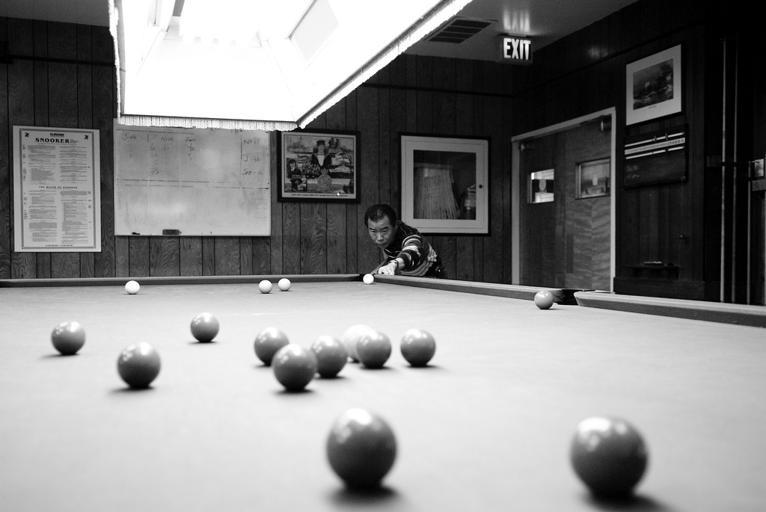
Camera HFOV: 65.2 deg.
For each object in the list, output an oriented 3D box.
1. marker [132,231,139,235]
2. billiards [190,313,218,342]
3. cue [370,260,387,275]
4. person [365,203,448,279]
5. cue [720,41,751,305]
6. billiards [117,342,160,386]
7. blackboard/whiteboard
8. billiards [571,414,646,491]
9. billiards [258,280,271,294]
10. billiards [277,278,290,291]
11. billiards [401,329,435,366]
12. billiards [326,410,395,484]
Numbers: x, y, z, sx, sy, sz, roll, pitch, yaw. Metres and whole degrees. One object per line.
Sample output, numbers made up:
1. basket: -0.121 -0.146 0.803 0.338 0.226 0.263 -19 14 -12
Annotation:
1. marker: -2.396 -0.223 5.823 0.047 0.028 0.035 -4 -7 -12
2. billiards: -0.564 0.236 1.904 0.081 0.097 0.084 7 -44 -32
3. cue: -0.028 0.096 5.195 0.076 0.105 0.258 0 -12 -6
4. person: 0.220 -0.089 5.184 0.515 0.736 0.567 -2 8 -32
5. cue: 2.717 -0.676 4.650 0.188 1.394 0.094 1 0 27
6. billiards: -0.556 0.242 1.364 0.086 0.104 0.088 19 14 -27
7. blackboard/whiteboard: -1.889 -0.748 5.975 1.500 1.148 0.055 -1 -9 -12
8. billiards: 0.344 0.307 0.920 0.111 0.106 0.058 0 0 22
9. billiards: -0.721 0.185 3.624 0.074 0.076 0.078 -16 -41 2
10. billiards: -0.624 0.172 3.808 0.071 0.076 0.074 8 -16 -25
11. billiards: 0.081 0.260 1.573 0.080 0.098 0.083 -3 -6 -6
12. billiards: -0.034 0.302 0.942 0.108 0.108 0.066 0 0 2
